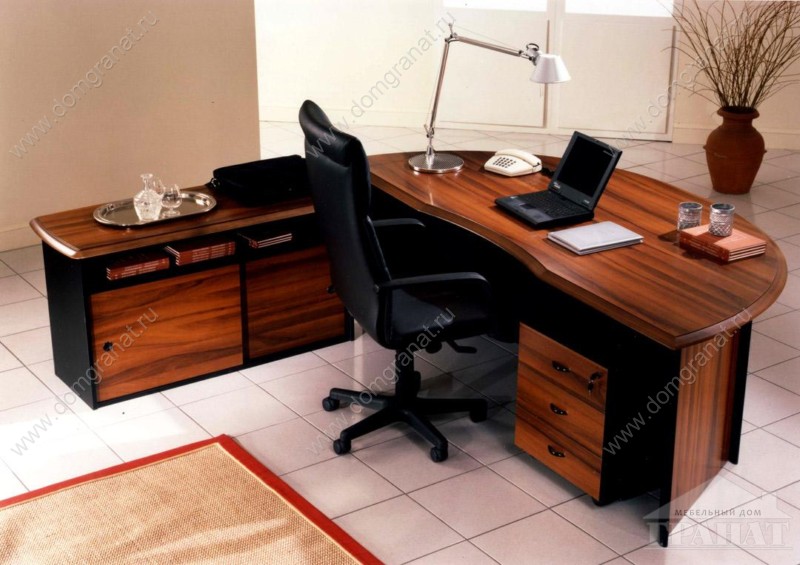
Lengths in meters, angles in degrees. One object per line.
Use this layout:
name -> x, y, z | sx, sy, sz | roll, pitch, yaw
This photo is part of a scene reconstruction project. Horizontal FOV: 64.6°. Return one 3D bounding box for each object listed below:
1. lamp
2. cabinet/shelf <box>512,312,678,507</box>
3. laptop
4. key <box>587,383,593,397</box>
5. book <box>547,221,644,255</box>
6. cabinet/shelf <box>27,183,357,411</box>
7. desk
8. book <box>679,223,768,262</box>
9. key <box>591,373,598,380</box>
lamp -> 0.492, -1.025, 3.583 | 1.040, 0.771, 0.318 | 11, 31, 32
cabinet/shelf -> 0.908, 0.543, 2.822 | 0.531, 0.636, 0.632 | -6, 15, -21
laptop -> 0.738, -0.490, 3.012 | 0.477, 0.276, 0.362 | -17, 34, -14
key -> 0.766, 0.432, 2.543 | 0.028, 0.062, 0.011 | 17, 33, 33
book -> 0.848, -0.199, 2.745 | 0.267, 0.023, 0.184 | -12, 29, -23
cabinet/shelf -> -1.117, 0.007, 3.665 | 0.759, 0.927, 1.822 | 16, 20, 34
desk -> 0.933, 0.239, 2.989 | 0.980, 1.176, 1.516 | -15, 28, -27
book -> 1.400, -0.167, 2.652 | 0.227, 0.045, 0.219 | -10, 22, -26
key -> 0.774, 0.376, 2.526 | 0.007, 0.023, 0.028 | 8, 5, -45
